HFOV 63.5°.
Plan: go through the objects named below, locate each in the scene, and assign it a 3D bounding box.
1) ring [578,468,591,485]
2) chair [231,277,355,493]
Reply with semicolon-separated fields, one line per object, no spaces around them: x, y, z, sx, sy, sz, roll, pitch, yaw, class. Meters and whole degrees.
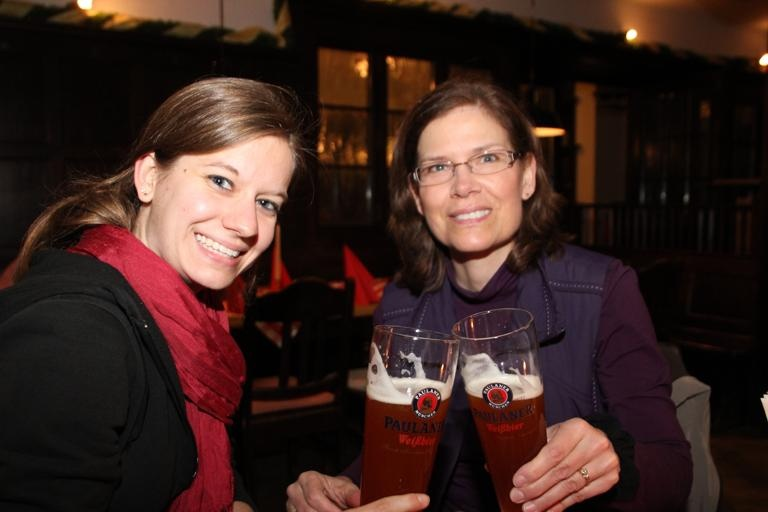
0.650;0.714;2.017;0.018;0.045;0.039;-27;-42;18;ring
-0.669;0.798;4.075;0.816;1.373;0.787;-5;13;-41;chair
